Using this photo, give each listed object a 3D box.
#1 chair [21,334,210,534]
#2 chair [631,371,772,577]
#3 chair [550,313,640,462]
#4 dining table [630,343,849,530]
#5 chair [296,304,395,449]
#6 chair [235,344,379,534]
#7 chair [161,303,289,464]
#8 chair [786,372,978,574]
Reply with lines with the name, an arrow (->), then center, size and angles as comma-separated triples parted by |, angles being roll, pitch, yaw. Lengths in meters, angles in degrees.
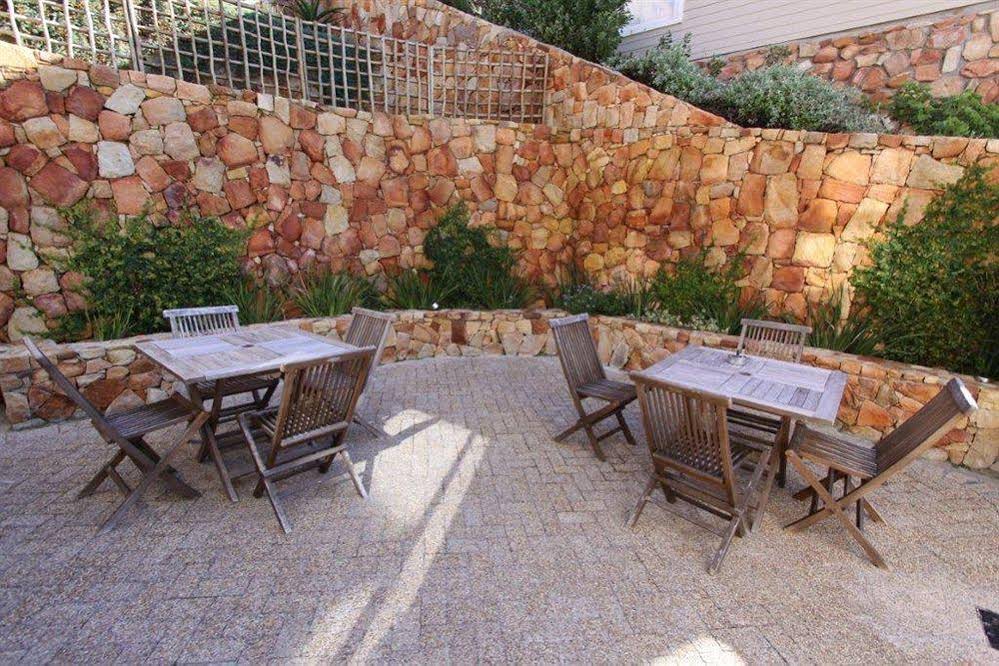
chair -> -3.744, 0.927, 5.930 | 1.177, 1.588, 1.235 | -22, 33, -40
chair -> 1.975, 1.410, 5.720 | 0.895, 1.468, 1.318 | 19, 50, 36
chair -> 1.158, 0.624, 6.975 | 0.798, 1.552, 1.133 | -11, 18, -33
dining table -> 2.580, 0.900, 6.304 | 1.754, 0.990, 1.341 | 13, 22, 37
chair -> -2.094, 0.285, 7.135 | 1.092, 1.681, 1.319 | 14, 12, 41
chair -> -2.026, 1.131, 6.055 | 1.064, 1.788, 1.135 | -17, 36, -37
chair -> -3.064, 0.613, 6.464 | 1.313, 1.782, 1.214 | 18, 23, 36
chair -> 3.570, 1.224, 5.771 | 1.345, 1.777, 1.141 | 11, 19, 16
